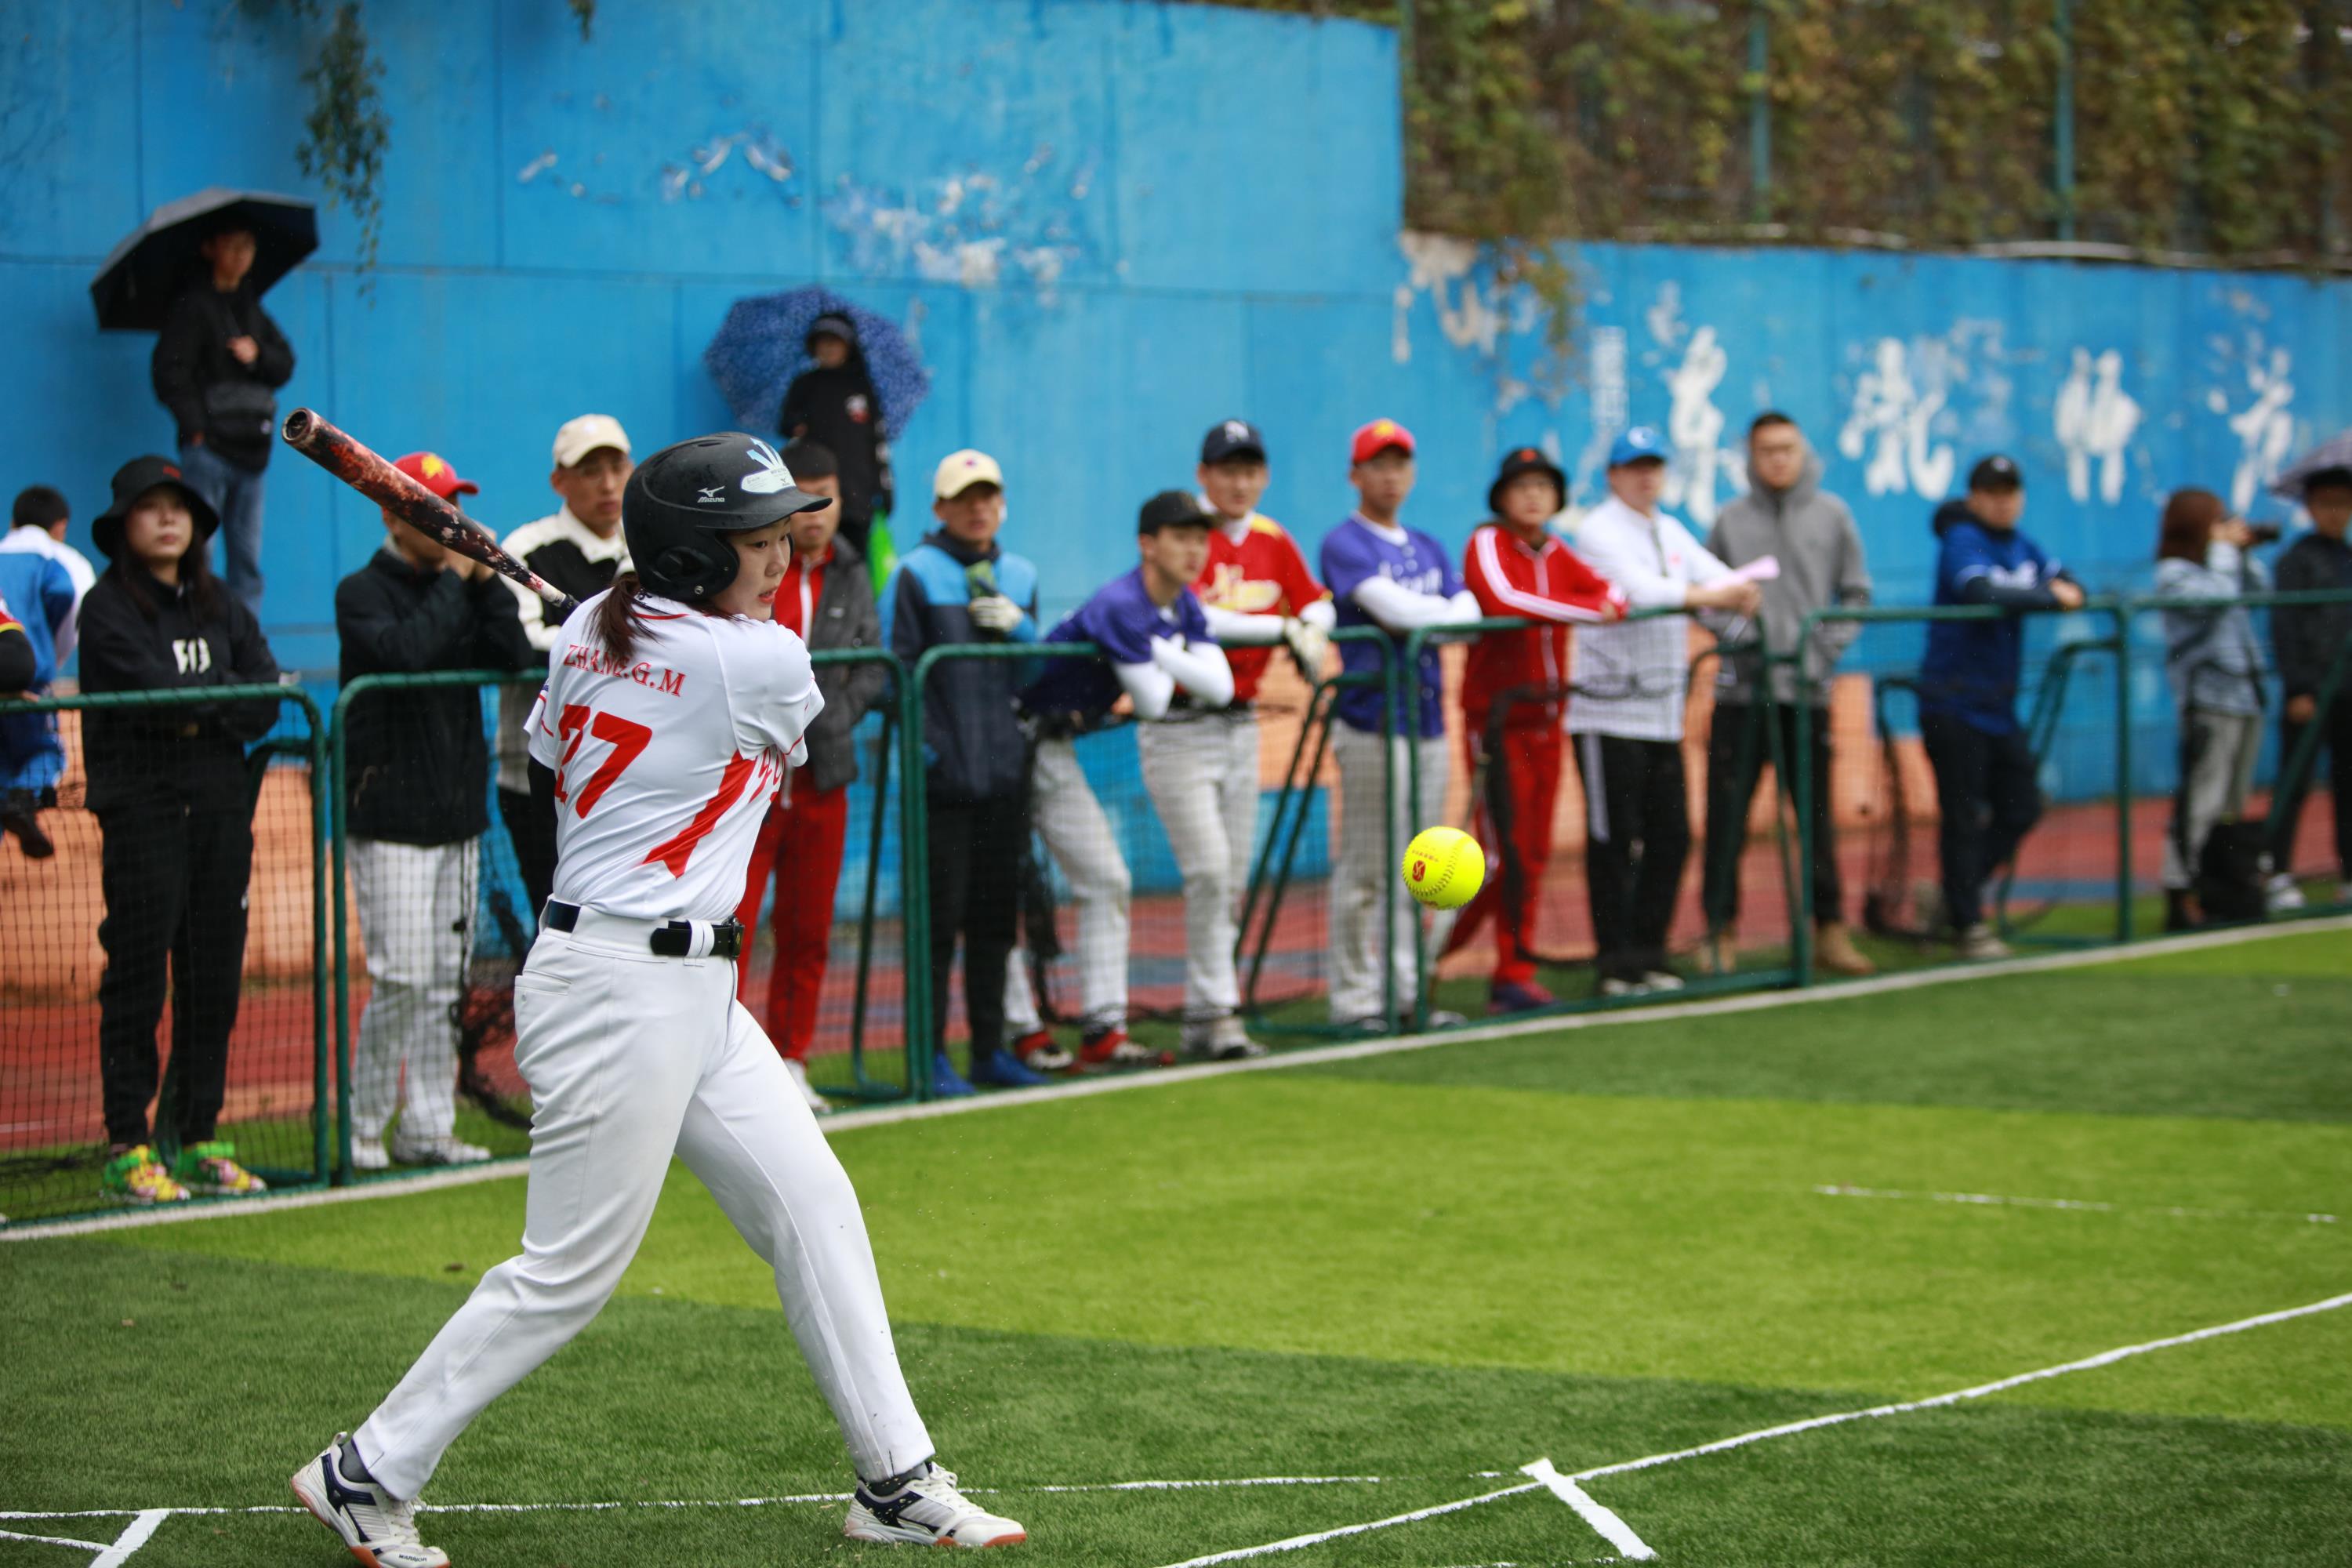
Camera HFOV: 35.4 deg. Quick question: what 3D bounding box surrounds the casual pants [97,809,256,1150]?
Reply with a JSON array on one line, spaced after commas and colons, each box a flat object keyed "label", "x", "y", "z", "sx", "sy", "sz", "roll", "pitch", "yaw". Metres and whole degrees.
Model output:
[{"label": "casual pants", "x": -4.390, "y": 0.801, "z": 16.198, "sx": 0.669, "sy": 1.566, "sz": 0.151, "roll": -2, "pitch": 0, "yaw": -27}]

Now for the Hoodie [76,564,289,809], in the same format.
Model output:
[{"label": "Hoodie", "x": -4.444, "y": -0.371, "z": 16.421, "sx": 0.812, "sy": 1.243, "sz": 0.590, "roll": -8, "pitch": 10, "yaw": -43}]

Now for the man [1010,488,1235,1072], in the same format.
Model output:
[{"label": "man", "x": -0.292, "y": -0.003, "z": 17.973, "sx": 1.070, "sy": 2.900, "sz": 0.693, "roll": 2, "pitch": 4, "yaw": 23}]

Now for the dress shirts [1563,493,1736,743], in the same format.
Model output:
[{"label": "dress shirts", "x": 2.549, "y": -0.847, "z": 19.039, "sx": 0.602, "sy": 1.279, "sz": 0.748, "roll": 2, "pitch": -2, "yaw": 7}]

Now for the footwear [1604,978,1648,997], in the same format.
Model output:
[{"label": "footwear", "x": 2.287, "y": 1.042, "z": 18.937, "sx": 0.168, "sy": 0.081, "sz": 0.108, "roll": 3, "pitch": -2, "yaw": -9}]

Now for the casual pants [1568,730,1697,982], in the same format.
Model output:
[{"label": "casual pants", "x": 2.306, "y": 0.371, "z": 18.844, "sx": 0.590, "sy": 1.269, "sz": 0.304, "roll": -2, "pitch": 0, "yaw": -5}]

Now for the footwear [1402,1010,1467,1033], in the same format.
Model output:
[{"label": "footwear", "x": 1.299, "y": 1.194, "z": 18.555, "sx": 0.196, "sy": 0.066, "sz": 0.155, "roll": -4, "pitch": 0, "yaw": 17}]

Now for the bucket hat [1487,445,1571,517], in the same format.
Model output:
[{"label": "bucket hat", "x": 1.800, "y": -1.563, "z": 19.066, "sx": 0.354, "sy": 0.361, "sz": 0.649, "roll": -3, "pitch": 0, "yaw": 2}]

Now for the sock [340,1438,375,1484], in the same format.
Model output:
[{"label": "sock", "x": -2.990, "y": 2.463, "z": 13.463, "sx": 0.088, "sy": 0.112, "sz": 0.160, "roll": 9, "pitch": 2, "yaw": -7}]

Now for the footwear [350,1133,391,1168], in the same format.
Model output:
[{"label": "footwear", "x": -3.618, "y": 1.657, "z": 16.545, "sx": 0.206, "sy": 0.177, "sz": 0.125, "roll": 0, "pitch": -4, "yaw": -9}]

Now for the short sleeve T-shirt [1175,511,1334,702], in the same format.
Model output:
[{"label": "short sleeve T-shirt", "x": 0.315, "y": -0.946, "z": 18.724, "sx": 0.713, "sy": 0.317, "sz": 0.877, "roll": -25, "pitch": -38, "yaw": 6}]

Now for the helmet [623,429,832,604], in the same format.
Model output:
[{"label": "helmet", "x": -1.669, "y": -0.996, "z": 13.666, "sx": 0.684, "sy": 0.586, "sz": 0.573, "roll": -2, "pitch": 16, "yaw": -7}]

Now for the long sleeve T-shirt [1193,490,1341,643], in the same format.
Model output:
[{"label": "long sleeve T-shirt", "x": 0.412, "y": -1.050, "z": 18.590, "sx": 0.543, "sy": 0.695, "sz": 0.255, "roll": -21, "pitch": -3, "yaw": -27}]

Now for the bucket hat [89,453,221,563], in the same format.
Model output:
[{"label": "bucket hat", "x": -4.548, "y": -1.257, "z": 16.338, "sx": 0.585, "sy": 0.429, "sz": 0.609, "roll": -9, "pitch": -3, "yaw": -12}]

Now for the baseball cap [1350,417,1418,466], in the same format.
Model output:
[{"label": "baseball cap", "x": 1.070, "y": -1.763, "z": 18.950, "sx": 0.346, "sy": 0.220, "sz": 0.522, "roll": -11, "pitch": 11, "yaw": 15}]

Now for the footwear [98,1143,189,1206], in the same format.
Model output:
[{"label": "footwear", "x": -4.528, "y": 1.720, "z": 16.128, "sx": 0.203, "sy": 0.356, "sz": 0.166, "roll": -31, "pitch": -18, "yaw": -32}]

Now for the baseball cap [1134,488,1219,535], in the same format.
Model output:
[{"label": "baseball cap", "x": -0.056, "y": -1.341, "z": 17.935, "sx": 0.222, "sy": 0.174, "sz": 0.305, "roll": -1, "pitch": -12, "yaw": -32}]

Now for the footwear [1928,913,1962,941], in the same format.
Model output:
[{"label": "footwear", "x": 4.059, "y": 0.775, "z": 19.527, "sx": 0.141, "sy": 0.165, "sz": 0.036, "roll": 13, "pitch": 11, "yaw": -6}]

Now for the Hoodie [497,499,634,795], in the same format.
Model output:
[{"label": "Hoodie", "x": -2.931, "y": -0.547, "z": 17.018, "sx": 0.341, "sy": 1.411, "sz": 0.929, "roll": 10, "pitch": 10, "yaw": 39}]

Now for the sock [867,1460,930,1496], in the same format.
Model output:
[{"label": "sock", "x": -1.033, "y": 2.545, "z": 13.554, "sx": 0.150, "sy": 0.071, "sz": 0.054, "roll": -28, "pitch": 10, "yaw": 2}]

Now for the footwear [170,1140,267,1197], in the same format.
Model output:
[{"label": "footwear", "x": -4.230, "y": 1.694, "z": 16.339, "sx": 0.402, "sy": 0.212, "sz": 0.187, "roll": 2, "pitch": 19, "yaw": -4}]

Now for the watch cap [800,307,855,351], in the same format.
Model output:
[{"label": "watch cap", "x": -1.901, "y": -2.502, "z": 20.307, "sx": 0.219, "sy": 0.193, "sz": 0.083, "roll": 16, "pitch": -35, "yaw": 17}]

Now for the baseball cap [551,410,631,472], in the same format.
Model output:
[{"label": "baseball cap", "x": -2.781, "y": -1.586, "z": 17.291, "sx": 0.294, "sy": 0.224, "sz": 0.427, "roll": -8, "pitch": -4, "yaw": -19}]

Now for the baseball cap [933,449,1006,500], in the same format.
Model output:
[{"label": "baseball cap", "x": -1.052, "y": -1.475, "z": 17.832, "sx": 0.252, "sy": 0.198, "sz": 0.364, "roll": -17, "pitch": -3, "yaw": -14}]

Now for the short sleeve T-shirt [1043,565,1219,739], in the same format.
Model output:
[{"label": "short sleeve T-shirt", "x": -0.110, "y": -0.496, "z": 17.945, "sx": 0.650, "sy": 0.975, "sz": 0.653, "roll": 8, "pitch": -1, "yaw": 12}]

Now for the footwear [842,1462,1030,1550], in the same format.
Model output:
[{"label": "footwear", "x": -0.931, "y": 2.673, "z": 13.726, "sx": 0.726, "sy": 0.379, "sz": 0.287, "roll": 3, "pitch": -5, "yaw": 5}]

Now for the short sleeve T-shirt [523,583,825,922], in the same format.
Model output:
[{"label": "short sleeve T-shirt", "x": -1.973, "y": -0.099, "z": 13.765, "sx": 1.095, "sy": 1.237, "sz": 0.648, "roll": 8, "pitch": 11, "yaw": 9}]

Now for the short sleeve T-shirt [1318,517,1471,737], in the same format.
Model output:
[{"label": "short sleeve T-shirt", "x": 1.073, "y": -0.739, "z": 18.496, "sx": 0.833, "sy": 1.284, "sz": 0.637, "roll": 5, "pitch": -13, "yaw": -41}]
